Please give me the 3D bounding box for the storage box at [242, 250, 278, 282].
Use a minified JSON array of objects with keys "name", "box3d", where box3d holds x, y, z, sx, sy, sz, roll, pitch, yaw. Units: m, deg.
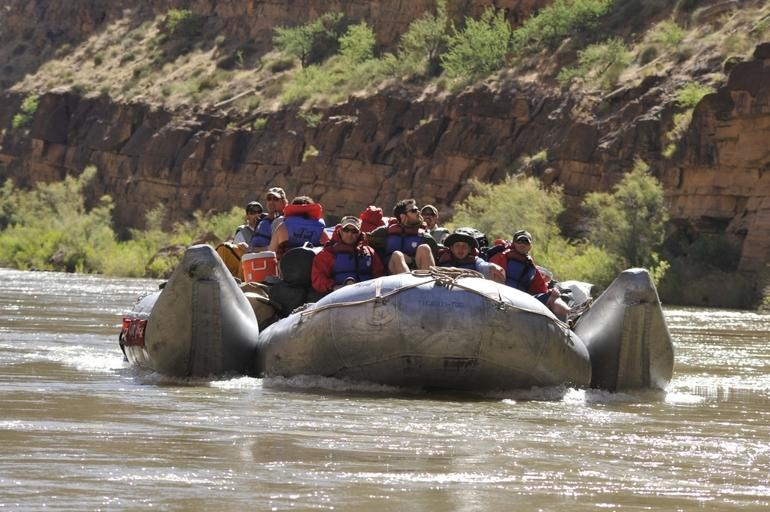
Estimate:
[{"name":"storage box","box3d":[-5.146,0.399,71.275,1.356,1.147,1.258,-2,-15,-12]}]
